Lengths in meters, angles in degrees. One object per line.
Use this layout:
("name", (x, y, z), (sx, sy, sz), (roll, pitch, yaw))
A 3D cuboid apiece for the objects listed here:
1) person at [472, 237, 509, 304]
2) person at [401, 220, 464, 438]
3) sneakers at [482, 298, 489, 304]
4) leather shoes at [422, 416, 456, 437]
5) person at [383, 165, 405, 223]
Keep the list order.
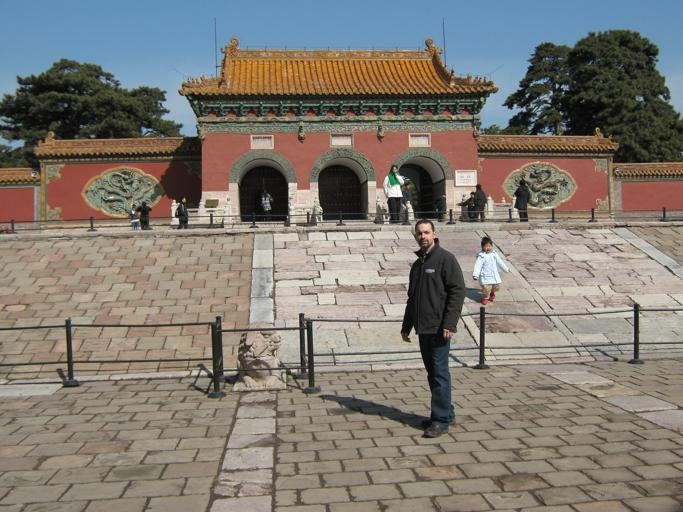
("person", (2.830, 0.282, 11.647), (0.598, 1.284, 0.873), (-1, 7, 13))
("person", (1.013, 0.738, 6.522), (0.585, 2.216, 0.710), (-2, 7, 6))
("sneakers", (2.718, 0.866, 11.661), (0.110, 0.123, 0.151), (2, -11, 3))
("leather shoes", (0.997, 1.790, 6.434), (0.279, 0.143, 0.270), (-1, 6, 6))
("person", (1.516, -1.761, 17.499), (0.526, 1.635, 1.553), (-2, 6, 6))
